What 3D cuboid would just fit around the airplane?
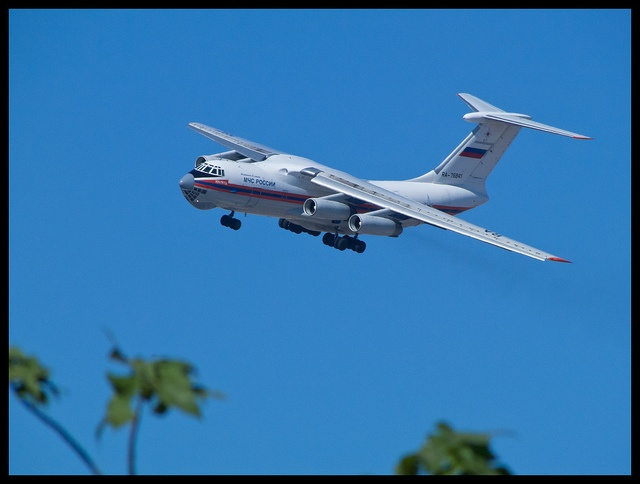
[{"bbox_3d":[1.367,-2.217,38.666,11.357,12.508,3.117,1,-87,-23],"label":"airplane"}]
